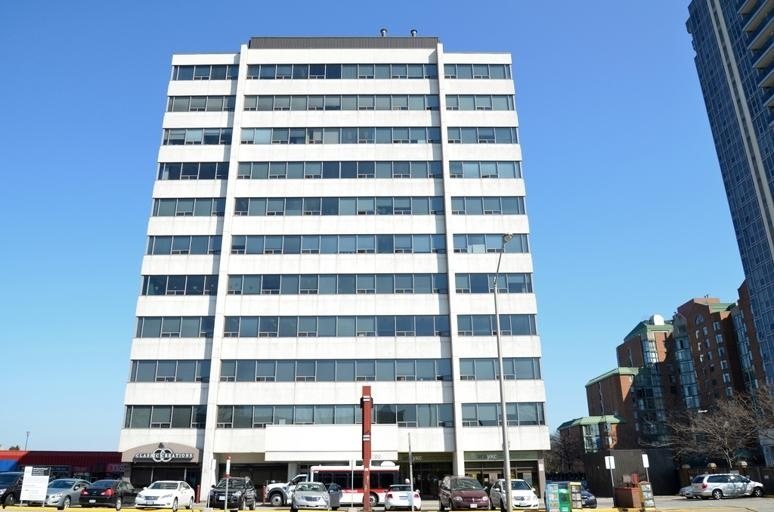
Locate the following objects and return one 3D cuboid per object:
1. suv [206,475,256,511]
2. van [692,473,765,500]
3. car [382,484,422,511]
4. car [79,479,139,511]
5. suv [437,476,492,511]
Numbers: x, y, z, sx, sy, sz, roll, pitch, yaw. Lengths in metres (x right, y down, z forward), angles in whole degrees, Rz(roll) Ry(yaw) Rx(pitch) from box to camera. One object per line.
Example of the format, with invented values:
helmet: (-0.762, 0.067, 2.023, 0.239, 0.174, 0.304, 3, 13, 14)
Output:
suv: (-13.953, 21.557, 54.346, 3.640, 2.648, 6.930, 3, -20, -11)
van: (36.551, 24.896, 64.361, 6.767, 1.768, 3.101, 2, -16, -7)
car: (1.738, 22.507, 55.745, 3.299, 2.173, 2.481, -17, -26, 37)
car: (-23.835, 20.350, 51.169, 4.185, 2.223, 2.166, 9, -23, -26)
suv: (6.642, 20.563, 51.826, 4.542, 2.671, 3.071, -7, -21, 15)
